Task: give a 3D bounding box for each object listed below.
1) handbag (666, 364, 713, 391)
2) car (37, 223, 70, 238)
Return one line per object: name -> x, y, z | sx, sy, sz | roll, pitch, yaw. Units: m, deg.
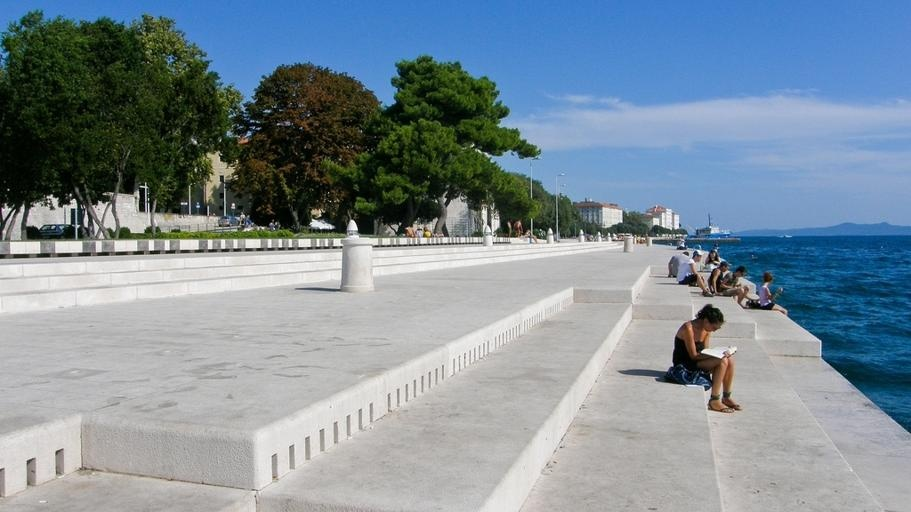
handbag -> 3.926, 1.999, 11.763 | 0.753, 0.301, 0.480 | 3, 4, 16
car -> -27.559, -1.681, 47.790 | 2.234, 0.959, 1.209 | 5, 2, 4
